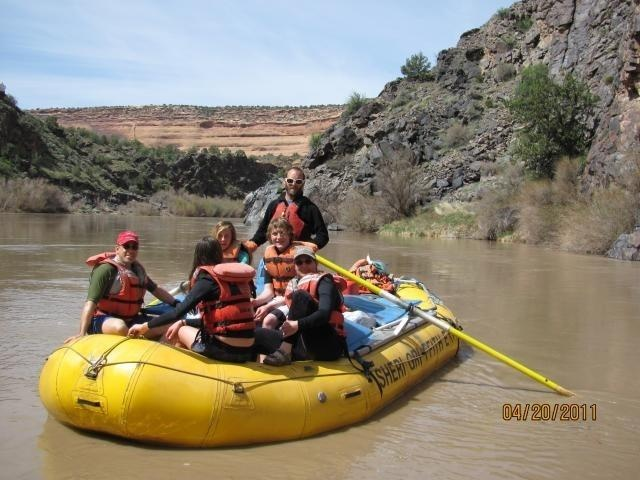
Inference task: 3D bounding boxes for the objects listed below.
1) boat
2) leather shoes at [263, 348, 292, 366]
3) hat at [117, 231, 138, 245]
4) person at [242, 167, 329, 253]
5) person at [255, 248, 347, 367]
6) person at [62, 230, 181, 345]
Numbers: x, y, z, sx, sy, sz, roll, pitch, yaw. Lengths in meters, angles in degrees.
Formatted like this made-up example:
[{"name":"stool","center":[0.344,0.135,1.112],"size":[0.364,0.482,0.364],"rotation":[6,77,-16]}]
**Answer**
[{"name":"boat","center":[-0.216,0.942,6.092],"size":[1.918,0.586,3.326],"rotation":[4,3,38]},{"name":"leather shoes","center":[-0.431,1.197,5.791],"size":[0.264,0.112,0.134],"rotation":[5,-8,-7]},{"name":"hat","center":[-2.197,-0.029,6.484],"size":[0.214,0.165,0.321],"rotation":[7,-11,-25]},{"name":"person","center":[-0.464,-0.083,8.429],"size":[1.125,1.831,0.918],"rotation":[3,13,17]},{"name":"person","center":[-0.080,0.819,6.395],"size":[1.191,1.270,0.915],"rotation":[-1,-10,-27]},{"name":"person","center":[-2.184,0.542,6.412],"size":[0.814,1.139,1.510],"rotation":[6,5,22]}]
